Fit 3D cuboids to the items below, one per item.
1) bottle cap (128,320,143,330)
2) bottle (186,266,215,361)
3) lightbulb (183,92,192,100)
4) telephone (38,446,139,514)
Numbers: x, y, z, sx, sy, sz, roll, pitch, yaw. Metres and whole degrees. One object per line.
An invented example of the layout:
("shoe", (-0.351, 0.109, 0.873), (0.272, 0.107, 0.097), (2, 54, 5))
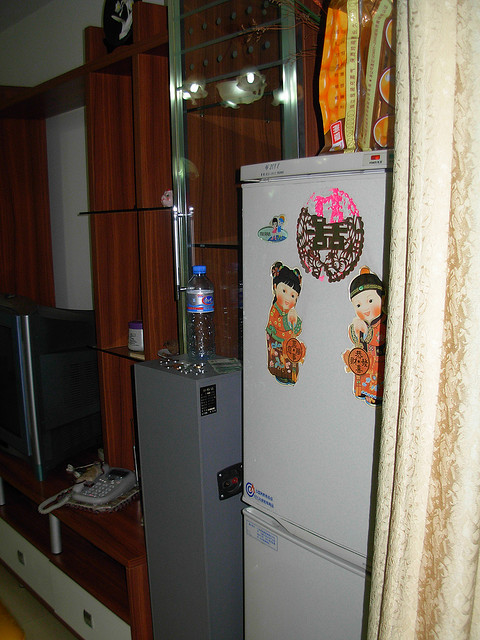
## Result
("bottle cap", (-0.370, 0.020, 1.714), (0.040, 0.024, 0.049), (-8, 10, -26))
("bottle", (-0.125, -0.028, 1.503), (0.092, 0.302, 0.108), (6, 19, 14))
("lightbulb", (-0.151, -0.635, 1.364), (0.015, 0.017, 0.036), (-9, 11, -36))
("telephone", (-0.544, 0.564, 1.816), (0.377, 0.232, 0.235), (-3, 9, 2))
